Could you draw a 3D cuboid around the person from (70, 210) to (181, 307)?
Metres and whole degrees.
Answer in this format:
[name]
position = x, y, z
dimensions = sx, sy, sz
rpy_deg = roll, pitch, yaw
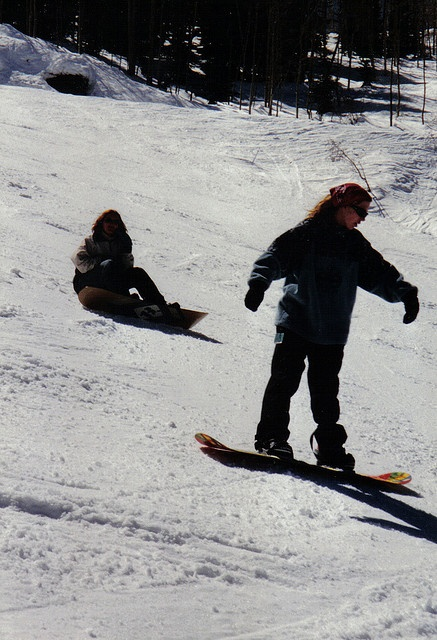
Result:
[person]
position = -0.842, -0.516, 7.001
dimensions = 0.926, 1.028, 0.539
rpy_deg = -9, -19, 13

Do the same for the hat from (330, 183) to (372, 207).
[hat]
position = 0.675, -0.640, 4.073
dimensions = 0.206, 0.131, 0.202
rpy_deg = 6, 8, 5

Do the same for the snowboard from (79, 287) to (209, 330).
[snowboard]
position = -0.458, 0.004, 7.012
dimensions = 1.491, 0.243, 0.371
rpy_deg = 7, -34, -38

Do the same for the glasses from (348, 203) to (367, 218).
[glasses]
position = 0.721, -0.552, 4.044
dimensions = 0.079, 0.034, 0.069
rpy_deg = 42, 8, 27

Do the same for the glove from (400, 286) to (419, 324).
[glove]
position = 1.006, -0.076, 4.164
dimensions = 0.107, 0.174, 0.047
rpy_deg = 13, -4, 18
